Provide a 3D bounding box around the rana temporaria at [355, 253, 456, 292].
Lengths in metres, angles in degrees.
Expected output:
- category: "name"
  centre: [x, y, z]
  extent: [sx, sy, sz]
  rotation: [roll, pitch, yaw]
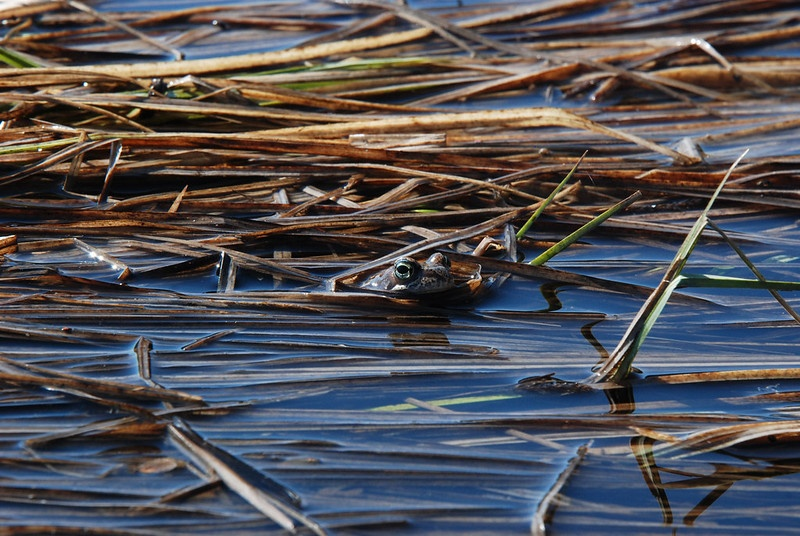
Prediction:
- category: "rana temporaria"
  centre: [0.021, 0.018, 4.603]
  extent: [0.430, 0.188, 0.207]
  rotation: [-4, 25, -1]
